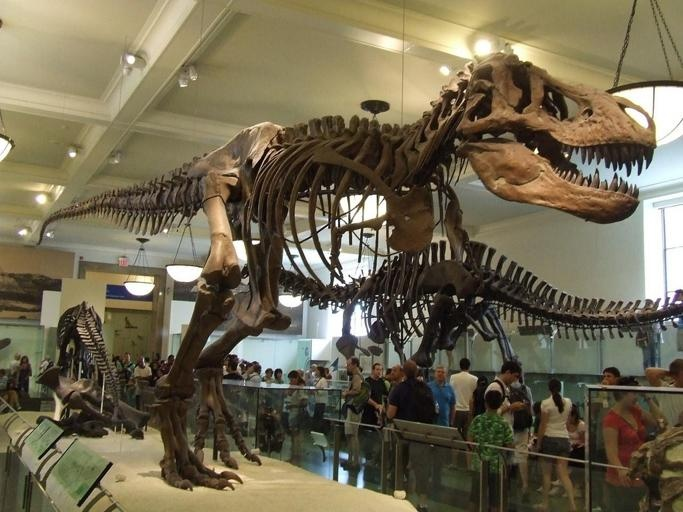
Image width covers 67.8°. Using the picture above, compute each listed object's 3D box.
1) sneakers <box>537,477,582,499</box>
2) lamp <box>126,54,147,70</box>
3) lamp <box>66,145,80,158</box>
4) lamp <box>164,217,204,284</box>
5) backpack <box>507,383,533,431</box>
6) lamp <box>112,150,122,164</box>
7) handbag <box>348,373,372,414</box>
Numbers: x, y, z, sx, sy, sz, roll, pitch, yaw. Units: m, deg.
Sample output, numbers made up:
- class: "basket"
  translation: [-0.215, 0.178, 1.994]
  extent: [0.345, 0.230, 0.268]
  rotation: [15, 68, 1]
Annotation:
- class: "sneakers"
  translation: [1.452, 1.548, 3.358]
  extent: [0.073, 0.094, 0.222]
  rotation: [2, -4, -35]
- class: "lamp"
  translation: [-2.448, -2.327, 6.052]
  extent: [0.208, 0.160, 0.051]
  rotation: [6, 19, 30]
- class: "lamp"
  translation: [-4.720, -1.851, 8.942]
  extent: [0.168, 0.229, 0.215]
  rotation: [-1, 10, -3]
- class: "lamp"
  translation: [-3.449, -0.130, 11.305]
  extent: [0.853, 1.533, 0.856]
  rotation: [-4, 20, -37]
- class: "backpack"
  translation: [1.940, 1.669, 5.454]
  extent: [0.242, 0.478, 0.333]
  rotation: [-2, -20, 28]
- class: "lamp"
  translation: [-3.931, -1.748, 8.892]
  extent: [0.125, 0.240, 0.129]
  rotation: [14, -47, -22]
- class: "handbag"
  translation: [0.215, 1.759, 6.380]
  extent: [0.282, 0.535, 0.365]
  rotation: [1, -17, 22]
